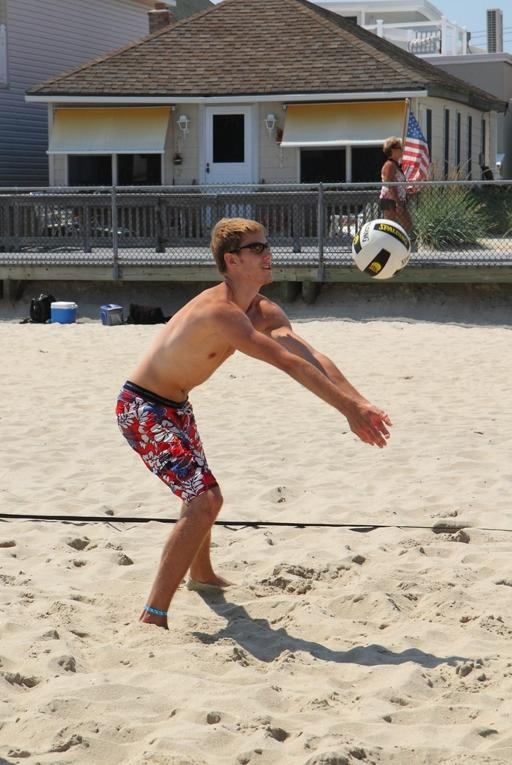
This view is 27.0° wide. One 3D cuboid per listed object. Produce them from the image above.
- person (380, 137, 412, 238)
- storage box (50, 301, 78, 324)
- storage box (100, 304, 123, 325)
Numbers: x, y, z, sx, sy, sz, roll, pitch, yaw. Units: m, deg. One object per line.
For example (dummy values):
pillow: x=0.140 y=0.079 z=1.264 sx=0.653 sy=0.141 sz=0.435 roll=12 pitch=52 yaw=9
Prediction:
person: x=1.706 y=-2.227 z=12.988 sx=0.397 sy=1.433 sz=0.460 roll=17 pitch=26 yaw=41
storage box: x=-2.574 y=-0.922 z=14.127 sx=0.317 sy=0.269 sz=0.297 roll=2 pitch=3 yaw=19
storage box: x=-1.867 y=-0.865 z=13.776 sx=0.230 sy=0.289 sz=0.316 roll=2 pitch=4 yaw=27
